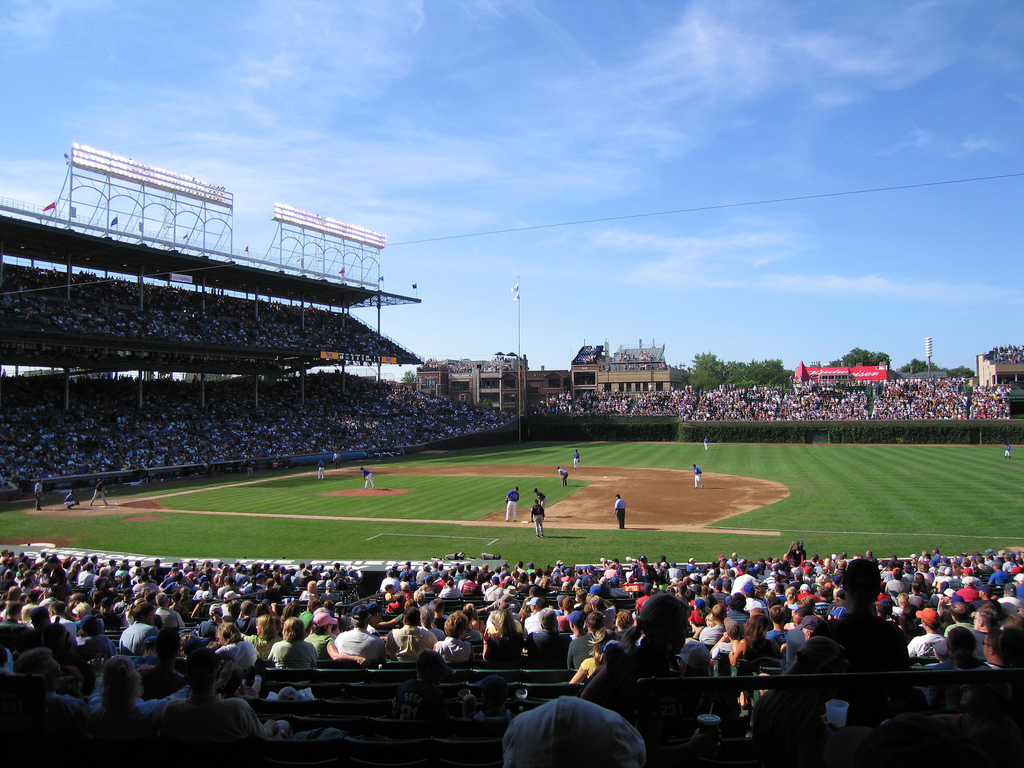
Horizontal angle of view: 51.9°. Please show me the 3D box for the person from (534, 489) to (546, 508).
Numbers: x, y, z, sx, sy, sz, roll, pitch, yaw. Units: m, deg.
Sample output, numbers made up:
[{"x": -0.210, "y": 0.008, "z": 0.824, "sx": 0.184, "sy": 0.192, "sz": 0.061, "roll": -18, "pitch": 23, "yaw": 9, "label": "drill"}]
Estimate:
[{"x": 0.944, "y": 4.011, "z": 36.492, "sx": 0.455, "sy": 0.387, "sz": 1.267, "roll": 7, "pitch": -11, "yaw": 5, "label": "person"}]
